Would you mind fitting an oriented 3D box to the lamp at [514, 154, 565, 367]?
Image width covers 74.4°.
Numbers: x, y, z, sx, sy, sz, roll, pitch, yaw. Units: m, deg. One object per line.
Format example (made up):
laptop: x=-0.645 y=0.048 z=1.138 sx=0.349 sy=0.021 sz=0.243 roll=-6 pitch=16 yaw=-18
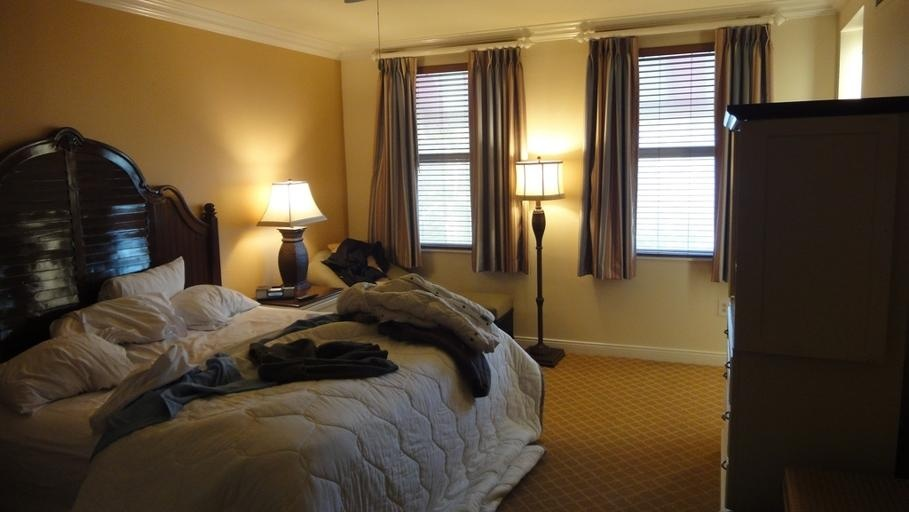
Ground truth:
lamp: x=0.941 y=0.052 z=6.484 sx=0.476 sy=2.196 sz=0.584 roll=5 pitch=13 yaw=40
